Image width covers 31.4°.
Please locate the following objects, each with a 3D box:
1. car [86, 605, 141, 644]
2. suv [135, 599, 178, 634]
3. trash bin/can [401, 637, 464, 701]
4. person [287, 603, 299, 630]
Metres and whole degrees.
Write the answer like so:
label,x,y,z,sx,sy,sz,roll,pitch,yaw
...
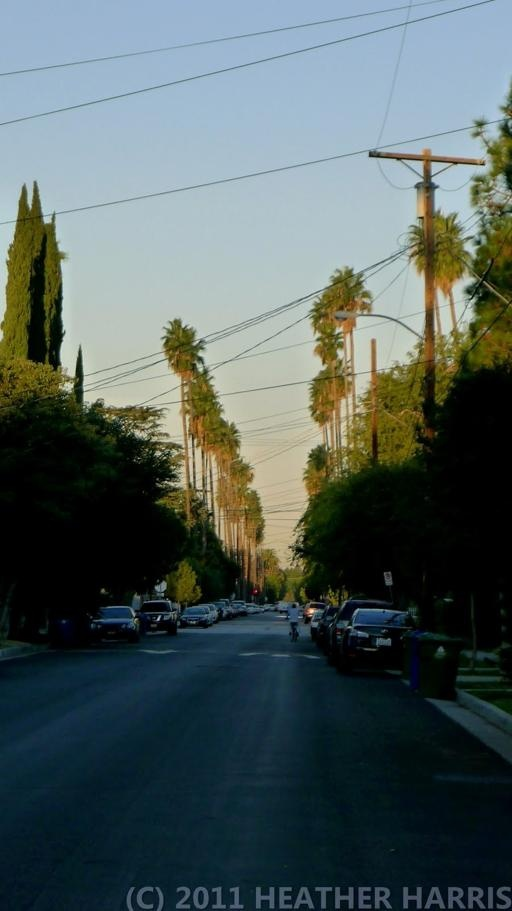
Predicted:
label,x,y,z,sx,sy,sz,roll,pitch,yaw
car,-5.593,6.707,36.030,1.602,1.359,2.219,-6,-9,34
suv,-4.891,7.999,45.472,1.160,1.457,2.837,0,-11,1
trash bin/can,3.133,3.711,16.284,0.876,1.260,1.236,2,0,-3
person,1.654,7.017,40.156,0.375,1.018,0.965,-1,-7,5
